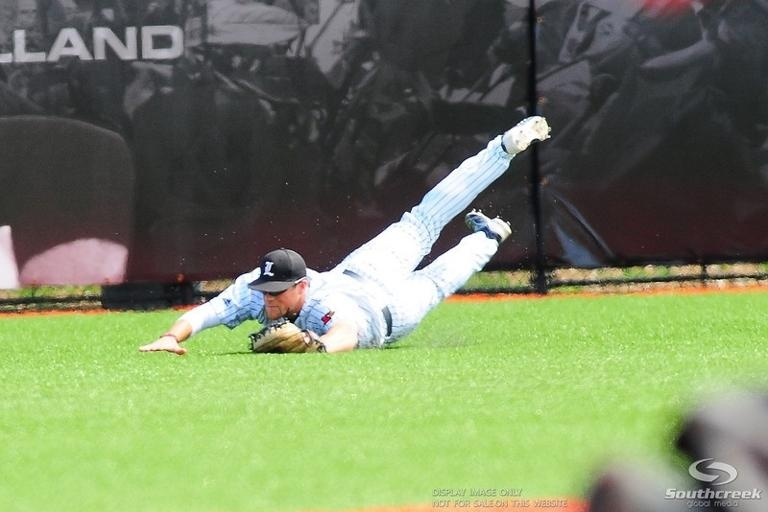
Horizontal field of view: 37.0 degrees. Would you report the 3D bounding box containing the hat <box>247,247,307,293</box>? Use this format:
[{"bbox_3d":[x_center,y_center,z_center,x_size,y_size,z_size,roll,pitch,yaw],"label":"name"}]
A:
[{"bbox_3d":[-0.624,0.076,6.693,0.387,0.187,0.283,-22,29,-34],"label":"hat"}]

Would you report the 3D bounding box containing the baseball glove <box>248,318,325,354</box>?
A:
[{"bbox_3d":[-0.532,0.468,6.253,0.269,0.104,0.209,9,-6,26],"label":"baseball glove"}]

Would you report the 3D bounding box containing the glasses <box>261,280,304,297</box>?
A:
[{"bbox_3d":[-0.571,0.176,6.644,0.191,0.046,0.107,-19,6,-23],"label":"glasses"}]

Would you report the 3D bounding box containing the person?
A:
[{"bbox_3d":[-0.094,0.071,7.169,1.198,0.791,2.687,22,37,37],"label":"person"}]

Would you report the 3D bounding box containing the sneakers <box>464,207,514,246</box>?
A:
[{"bbox_3d":[0.726,-0.199,8.116,0.197,0.145,0.428,7,14,-43],"label":"sneakers"}]

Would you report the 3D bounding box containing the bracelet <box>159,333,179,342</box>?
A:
[{"bbox_3d":[-1.228,0.485,6.588,0.095,0.057,0.125,-3,7,-7],"label":"bracelet"}]

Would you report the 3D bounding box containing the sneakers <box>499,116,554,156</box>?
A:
[{"bbox_3d":[1.007,-0.855,8.148,0.440,0.195,0.211,-33,-3,-44],"label":"sneakers"}]

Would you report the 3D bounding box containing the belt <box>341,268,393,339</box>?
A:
[{"bbox_3d":[-0.089,0.299,6.719,0.153,0.421,0.245,-25,24,42],"label":"belt"}]
